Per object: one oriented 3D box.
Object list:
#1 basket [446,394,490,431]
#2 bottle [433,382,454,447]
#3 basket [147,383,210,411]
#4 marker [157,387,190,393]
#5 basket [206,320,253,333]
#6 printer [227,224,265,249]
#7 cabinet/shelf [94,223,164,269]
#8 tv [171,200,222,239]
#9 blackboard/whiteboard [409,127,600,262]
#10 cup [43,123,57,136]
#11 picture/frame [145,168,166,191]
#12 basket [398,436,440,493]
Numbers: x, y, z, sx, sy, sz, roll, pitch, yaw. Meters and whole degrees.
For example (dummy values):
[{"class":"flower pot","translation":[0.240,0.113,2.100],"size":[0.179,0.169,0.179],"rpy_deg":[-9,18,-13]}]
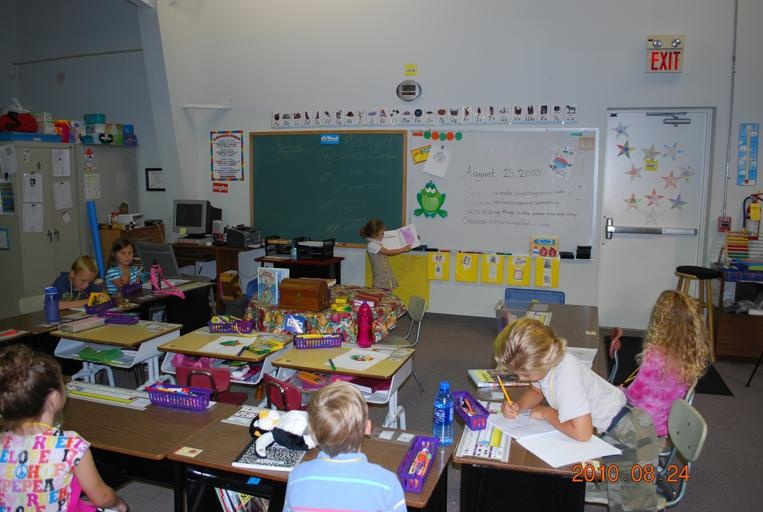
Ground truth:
[{"class":"basket","translation":[0.564,1.001,3.532],"size":[0.151,0.091,0.249],"rpy_deg":[-5,16,-18]},{"class":"bottle","translation":[0.393,0.984,3.387],"size":[0.122,0.349,0.287],"rpy_deg":[2,9,8]},{"class":"basket","translation":[-1.365,0.935,3.652],"size":[0.390,0.103,0.175],"rpy_deg":[3,8,13]},{"class":"marker","translation":[-1.390,0.904,3.639],"size":[0.103,0.018,0.070],"rpy_deg":[2,1,7]},{"class":"basket","translation":[-1.278,0.611,4.606],"size":[0.266,0.063,0.145],"rpy_deg":[1,5,4]},{"class":"printer","translation":[-1.899,-0.276,7.510],"size":[0.343,0.250,0.344],"rpy_deg":[3,4,18]},{"class":"cabinet/shelf","translation":[-3.100,-0.111,6.556],"size":[0.621,0.567,0.241],"rpy_deg":[0,9,-9]},{"class":"tv","translation":[-2.669,-0.524,7.799],"size":[0.522,0.473,0.515],"rpy_deg":[2,4,12]},{"class":"blackboard/whiteboard","translation":[1.659,-0.818,6.863],"size":[1.732,1.136,0.081],"rpy_deg":[2,4,9]},{"class":"cup","translation":[-4.322,-1.661,7.080],"size":[0.110,0.171,0.190],"rpy_deg":[5,10,27]},{"class":"picture/frame","translation":[-3.433,-1.175,8.238],"size":[0.360,0.358,0.026],"rpy_deg":[1,6,5]},{"class":"basket","translation":[0.210,1.194,3.152],"size":[0.177,0.103,0.425],"rpy_deg":[7,16,16]}]
